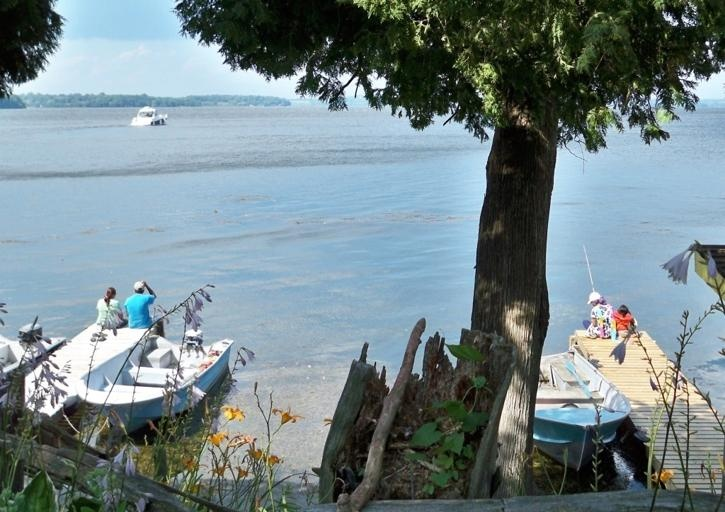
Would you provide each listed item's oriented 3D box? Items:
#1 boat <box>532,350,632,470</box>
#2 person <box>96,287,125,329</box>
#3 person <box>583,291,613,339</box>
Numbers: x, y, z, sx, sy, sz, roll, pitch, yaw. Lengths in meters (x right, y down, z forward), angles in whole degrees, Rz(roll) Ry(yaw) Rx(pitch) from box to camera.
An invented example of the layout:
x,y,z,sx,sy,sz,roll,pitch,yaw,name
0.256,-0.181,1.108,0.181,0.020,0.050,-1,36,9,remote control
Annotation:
x,y,z,sx,sy,sz,roll,pitch,yaw,name
3.391,2.408,12.056,1.532,1.091,3.942,-1,2,9,boat
-4.737,0.900,14.165,0.428,0.702,0.952,2,11,-6,person
4.771,1.176,15.347,0.615,0.871,0.690,-2,11,40,person
